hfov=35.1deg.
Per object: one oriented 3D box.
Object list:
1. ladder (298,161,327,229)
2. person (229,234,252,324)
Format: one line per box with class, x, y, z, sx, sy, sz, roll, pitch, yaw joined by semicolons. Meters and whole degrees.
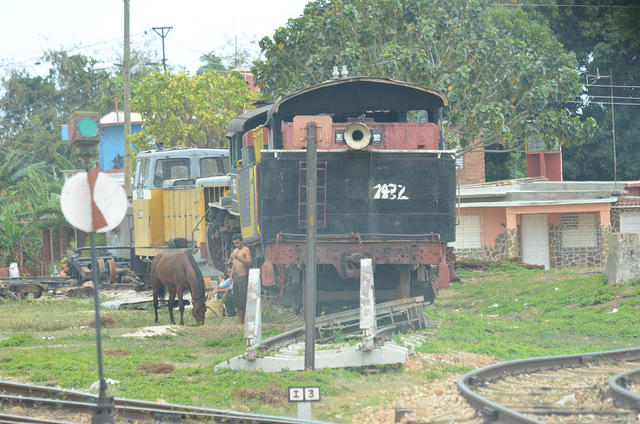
ladder;-0.260;-0.557;32.815;0.978;2.132;0.062;-2;7;-20
person;-2.831;2.318;35.306;0.984;3.148;1.159;-1;-3;-31
